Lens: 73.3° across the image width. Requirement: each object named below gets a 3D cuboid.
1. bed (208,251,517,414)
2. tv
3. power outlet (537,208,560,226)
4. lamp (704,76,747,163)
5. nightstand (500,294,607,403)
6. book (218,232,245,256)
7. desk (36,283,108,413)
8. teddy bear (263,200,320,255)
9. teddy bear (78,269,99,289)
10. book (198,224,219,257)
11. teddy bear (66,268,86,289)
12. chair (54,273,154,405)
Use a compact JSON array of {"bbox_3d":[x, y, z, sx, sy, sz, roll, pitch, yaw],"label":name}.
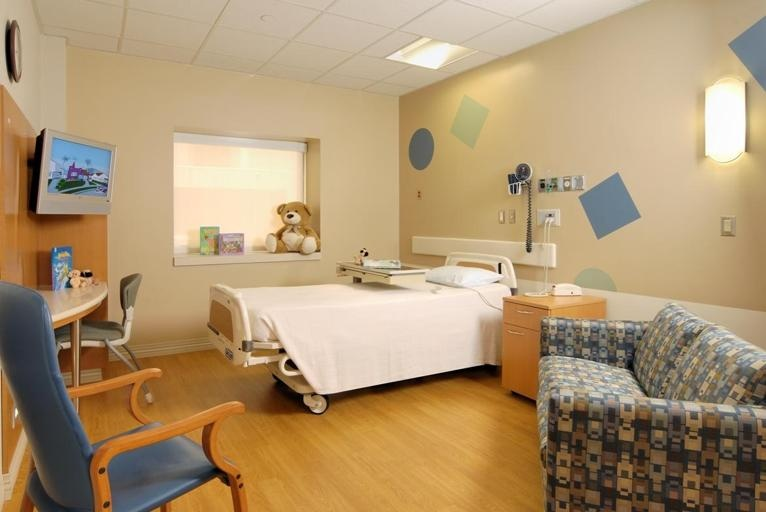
[{"bbox_3d":[-0.267,0.618,4.642,2.156,1.106,1.289,1,-1,-29],"label":"bed"},{"bbox_3d":[-2.520,-0.671,4.229,0.179,0.611,0.643,3,2,21],"label":"tv"},{"bbox_3d":[1.570,-0.372,4.890,0.166,0.120,0.023,4,6,43],"label":"power outlet"},{"bbox_3d":[2.540,-1.016,3.833,0.274,0.598,0.109,8,15,32],"label":"lamp"},{"bbox_3d":[1.510,0.744,4.500,0.937,1.190,0.697,2,-1,-22],"label":"nightstand"},{"bbox_3d":[-1.708,-0.130,5.748,0.270,0.259,0.093,0,1,-34],"label":"book"},{"bbox_3d":[-2.060,0.583,3.404,0.345,0.254,1.018,0,7,-22],"label":"desk"},{"bbox_3d":[-1.070,-0.332,6.097,0.624,0.635,0.511,1,3,3],"label":"teddy bear"},{"bbox_3d":[-2.545,0.187,4.395,0.138,0.072,0.175,13,2,-42],"label":"teddy bear"},{"bbox_3d":[-1.947,-0.183,5.758,0.219,0.300,0.225,-4,13,-20],"label":"book"},{"bbox_3d":[-2.578,0.200,4.334,0.113,0.154,0.157,4,-8,1],"label":"teddy bear"},{"bbox_3d":[-2.419,0.665,4.412,0.864,1.060,0.839,1,5,-40],"label":"chair"}]
